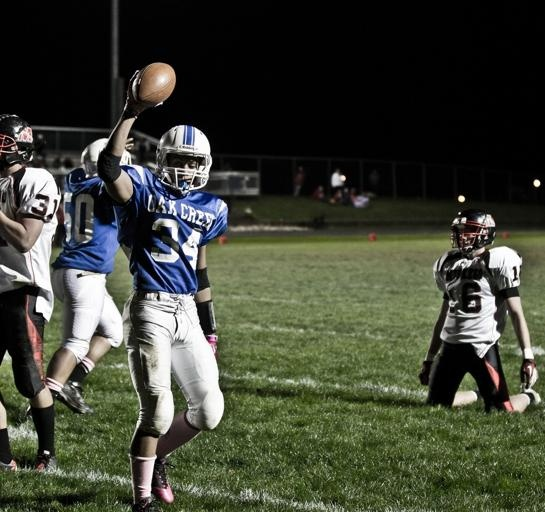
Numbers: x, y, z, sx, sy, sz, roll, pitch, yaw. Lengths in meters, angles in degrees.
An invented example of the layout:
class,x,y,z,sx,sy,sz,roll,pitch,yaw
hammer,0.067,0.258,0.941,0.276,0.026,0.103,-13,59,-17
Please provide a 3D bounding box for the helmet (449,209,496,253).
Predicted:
class,x,y,z,sx,sy,sz,roll,pitch,yaw
helmet,1.304,-0.155,5.590,0.303,0.248,0.236,7,-7,-28

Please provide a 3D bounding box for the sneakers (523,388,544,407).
class,x,y,z,sx,sy,sz,roll,pitch,yaw
sneakers,1.682,0.914,5.610,0.073,0.094,0.220,-25,-35,19

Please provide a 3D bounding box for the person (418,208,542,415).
class,x,y,z,sx,sy,sz,roll,pitch,yaw
person,1.297,0.341,5.488,0.738,1.252,0.479,2,7,20

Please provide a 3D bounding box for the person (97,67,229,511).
class,x,y,z,sx,sy,sz,roll,pitch,yaw
person,-0.508,0.146,4.174,0.661,2.123,0.451,-4,7,-27

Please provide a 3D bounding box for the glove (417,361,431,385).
class,x,y,z,sx,sy,sz,roll,pitch,yaw
glove,1.002,0.764,5.719,0.058,0.153,0.112,9,-4,8

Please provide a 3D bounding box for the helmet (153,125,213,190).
class,x,y,z,sx,sy,sz,roll,pitch,yaw
helmet,-0.425,-0.512,4.370,0.272,0.307,0.325,2,28,-20
